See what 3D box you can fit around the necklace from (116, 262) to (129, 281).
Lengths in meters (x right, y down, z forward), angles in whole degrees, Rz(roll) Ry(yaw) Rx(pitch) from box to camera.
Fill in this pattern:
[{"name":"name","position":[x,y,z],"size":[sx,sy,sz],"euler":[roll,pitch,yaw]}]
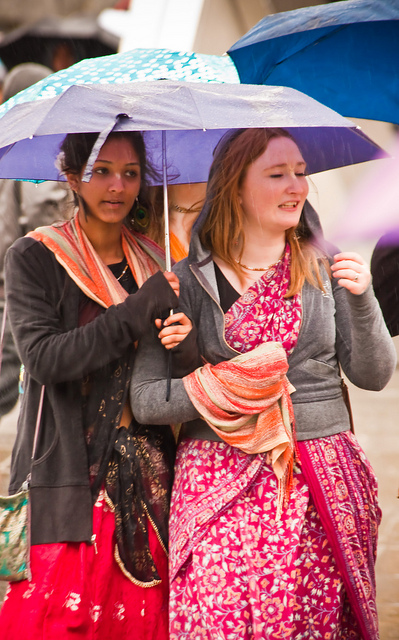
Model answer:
[{"name":"necklace","position":[-0.267,-0.172,2.088],"size":[0.014,0.014,0.093],"euler":[-9,32,44]}]

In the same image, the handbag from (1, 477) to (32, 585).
[{"name":"handbag","position":[-0.551,0.647,1.781],"size":[0.105,0.242,0.174],"euler":[-8,24,-12]}]

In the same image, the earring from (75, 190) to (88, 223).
[{"name":"earring","position":[-0.403,-0.383,2.010],"size":[0.023,0.024,0.169],"euler":[-10,64,-4]}]
